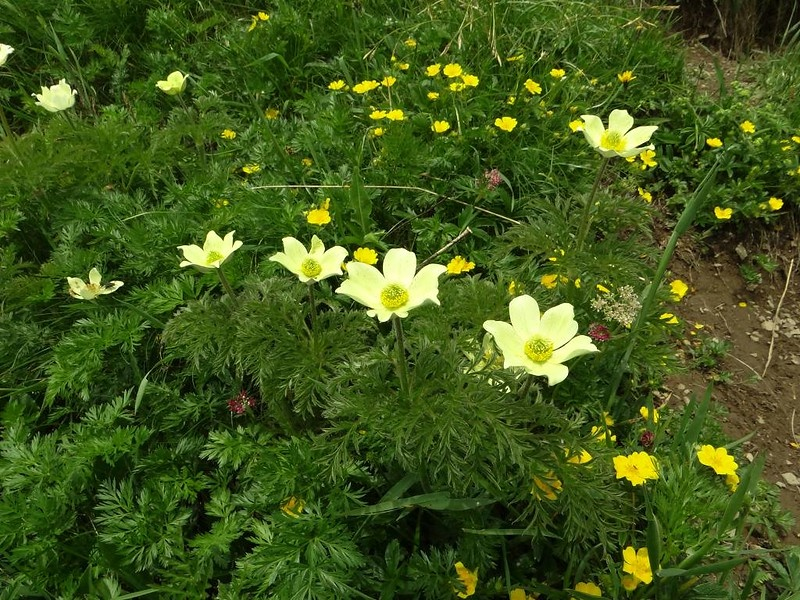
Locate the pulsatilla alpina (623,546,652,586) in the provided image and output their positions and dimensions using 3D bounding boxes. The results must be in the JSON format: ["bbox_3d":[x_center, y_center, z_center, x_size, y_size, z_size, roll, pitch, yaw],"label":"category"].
[{"bbox_3d":[1.043,1.181,2.608,0.136,0.150,0.146,-6,62,0],"label":"pulsatilla alpina"}]

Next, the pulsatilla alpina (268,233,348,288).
[{"bbox_3d":[-0.412,-0.177,2.719,0.264,0.107,0.267,9,39,-12],"label":"pulsatilla alpina"}]

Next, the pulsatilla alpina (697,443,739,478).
[{"bbox_3d":[1.473,0.753,2.767,0.165,0.070,0.169,13,47,19],"label":"pulsatilla alpina"}]

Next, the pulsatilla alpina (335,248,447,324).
[{"bbox_3d":[-0.034,-0.059,2.371,0.352,0.121,0.323,31,68,18],"label":"pulsatilla alpina"}]

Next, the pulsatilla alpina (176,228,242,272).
[{"bbox_3d":[-0.930,-0.227,2.894,0.236,0.086,0.242,28,58,31],"label":"pulsatilla alpina"}]

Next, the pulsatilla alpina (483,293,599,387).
[{"bbox_3d":[0.538,0.182,2.310,0.381,0.136,0.449,-11,41,-8],"label":"pulsatilla alpina"}]

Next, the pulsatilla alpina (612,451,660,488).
[{"bbox_3d":[1.051,0.754,2.639,0.176,0.065,0.173,15,53,22],"label":"pulsatilla alpina"}]
